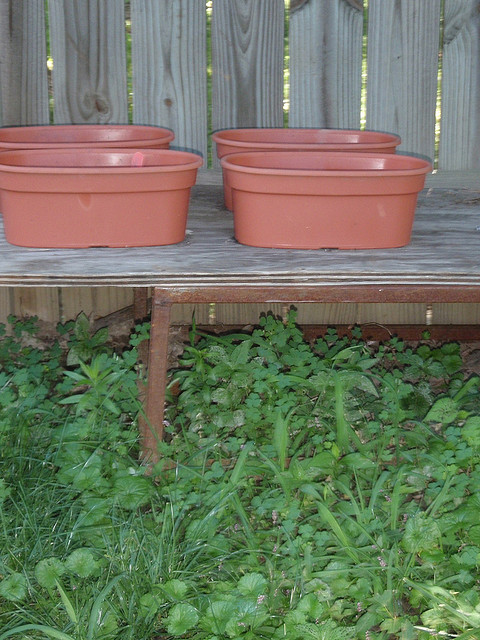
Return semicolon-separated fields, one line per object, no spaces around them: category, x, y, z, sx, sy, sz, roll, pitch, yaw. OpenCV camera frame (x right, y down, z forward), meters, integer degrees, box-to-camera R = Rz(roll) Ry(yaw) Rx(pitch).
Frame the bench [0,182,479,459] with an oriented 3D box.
bench;0.017;-0.118;1.850;1.190;0.607;1.079;0;20;-1
